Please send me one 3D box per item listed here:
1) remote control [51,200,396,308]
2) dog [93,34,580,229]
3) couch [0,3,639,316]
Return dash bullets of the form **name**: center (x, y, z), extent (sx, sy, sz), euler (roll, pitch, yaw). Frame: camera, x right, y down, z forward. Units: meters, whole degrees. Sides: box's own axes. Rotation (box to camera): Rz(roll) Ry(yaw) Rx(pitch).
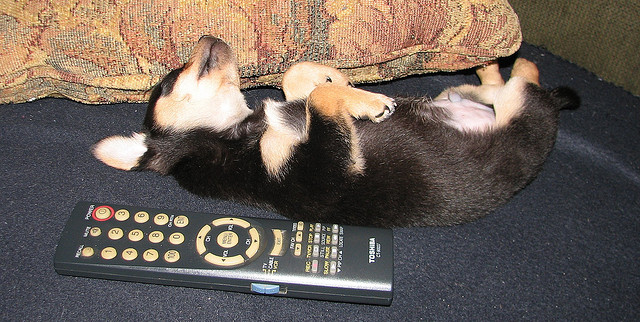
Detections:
- **remote control**: center (-0.294, 0.300, 1.735), extent (1.097, 0.087, 0.251), euler (6, 64, -1)
- **dog**: center (0.126, 0.026, 2.215), extent (2.079, 0.620, 0.775), euler (-8, 74, -5)
- **couch**: center (0.376, 0.113, 2.369), extent (2.388, 0.440, 1.100), euler (2, 72, 0)
